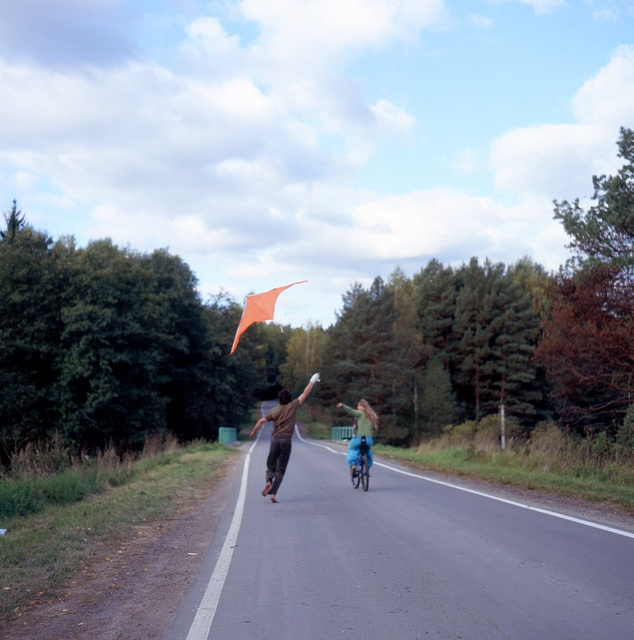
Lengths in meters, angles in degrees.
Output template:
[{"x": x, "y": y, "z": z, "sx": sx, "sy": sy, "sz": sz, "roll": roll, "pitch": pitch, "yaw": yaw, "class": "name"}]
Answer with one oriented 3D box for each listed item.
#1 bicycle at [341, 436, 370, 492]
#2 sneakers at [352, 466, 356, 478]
[{"x": 0.896, "y": 2.806, "z": 14.695, "sx": 0.403, "sy": 1.028, "sz": 0.803, "roll": 6, "pitch": -9, "yaw": -23, "class": "bicycle"}, {"x": 0.743, "y": 3.002, "z": 14.826, "sx": 0.110, "sy": 0.198, "sz": 0.186, "roll": 1, "pitch": -27, "yaw": 3, "class": "sneakers"}]
